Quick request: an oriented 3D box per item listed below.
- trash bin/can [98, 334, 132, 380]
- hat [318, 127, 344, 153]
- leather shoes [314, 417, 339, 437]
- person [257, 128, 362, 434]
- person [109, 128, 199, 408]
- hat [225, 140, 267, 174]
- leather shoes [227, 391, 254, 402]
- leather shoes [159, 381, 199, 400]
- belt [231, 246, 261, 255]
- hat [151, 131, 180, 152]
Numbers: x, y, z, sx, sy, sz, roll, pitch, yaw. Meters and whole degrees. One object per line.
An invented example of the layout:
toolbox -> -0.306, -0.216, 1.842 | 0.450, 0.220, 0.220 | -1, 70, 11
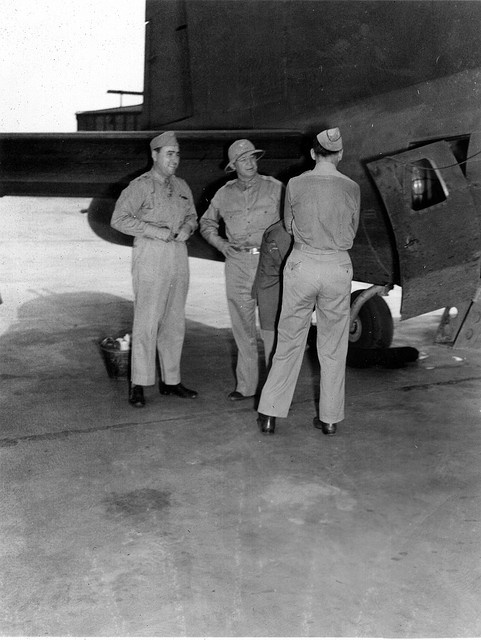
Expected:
trash bin/can -> -0.939, 0.292, 5.132 | 0.342, 0.241, 0.339 | 0, 6, -1
hat -> 0.513, -0.988, 3.646 | 0.118, 0.060, 0.146 | 24, -21, 8
leather shoes -> 0.517, 0.637, 3.977 | 0.062, 0.065, 0.160 | 1, 20, -15
person -> 0.389, -0.181, 3.763 | 0.534, 1.741, 0.277 | 2, 12, 9
person -> -0.531, -0.317, 4.423 | 0.350, 1.802, 0.616 | 10, 15, 39
hat -> 0.022, -1.028, 4.322 | 0.253, 0.121, 0.249 | -24, 2, -18
leather shoes -> -0.006, 0.540, 4.639 | 0.205, 0.077, 0.067 | 11, -8, -30
leather shoes -> -0.460, 0.499, 4.725 | 0.316, 0.116, 0.105 | 2, 13, 15
belt -> 0.033, -0.459, 4.363 | 0.187, 0.051, 0.039 | 4, 12, 21
hat -> -0.491, -1.141, 4.241 | 0.160, 0.080, 0.116 | 2, 13, 40
